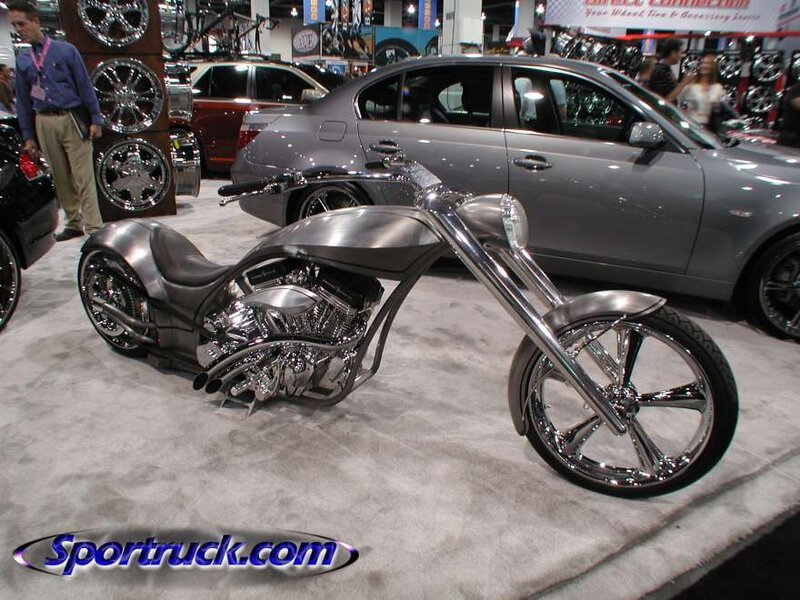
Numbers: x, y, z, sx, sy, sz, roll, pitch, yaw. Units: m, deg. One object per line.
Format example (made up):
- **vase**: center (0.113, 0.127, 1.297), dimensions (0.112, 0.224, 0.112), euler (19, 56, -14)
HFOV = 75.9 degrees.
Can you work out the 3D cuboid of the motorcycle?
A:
- **motorcycle**: center (-0.340, -0.011, 2.604), dimensions (3.432, 1.228, 1.205), euler (10, 15, 23)
